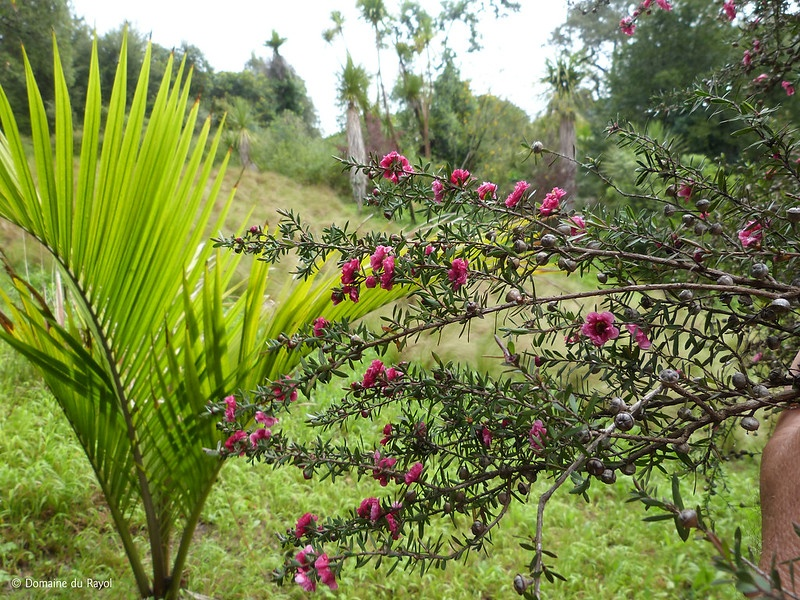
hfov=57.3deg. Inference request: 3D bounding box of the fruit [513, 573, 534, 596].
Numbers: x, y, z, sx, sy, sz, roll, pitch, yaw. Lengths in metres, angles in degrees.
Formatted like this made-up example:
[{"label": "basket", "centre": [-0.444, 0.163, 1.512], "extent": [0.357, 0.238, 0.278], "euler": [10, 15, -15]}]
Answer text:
[{"label": "fruit", "centre": [0.468, 1.060, 2.755], "extent": [0.068, 0.080, 0.237], "euler": [-4, -13, 9]}]
